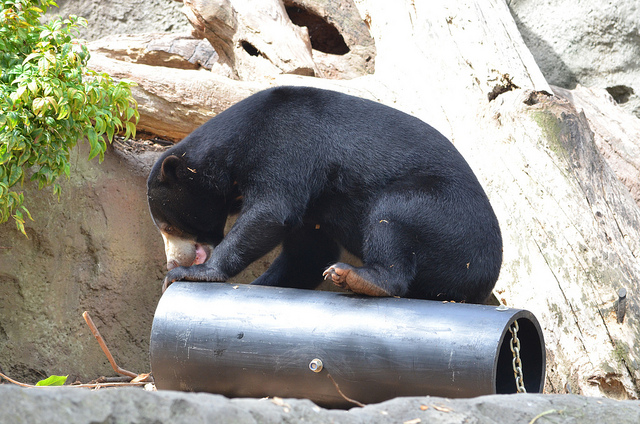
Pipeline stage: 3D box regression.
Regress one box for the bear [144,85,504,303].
[{"bbox_3d":[0.005,0.159,7.007,2.810,1.652,1.647,-5,-34,8],"label":"bear"}]
